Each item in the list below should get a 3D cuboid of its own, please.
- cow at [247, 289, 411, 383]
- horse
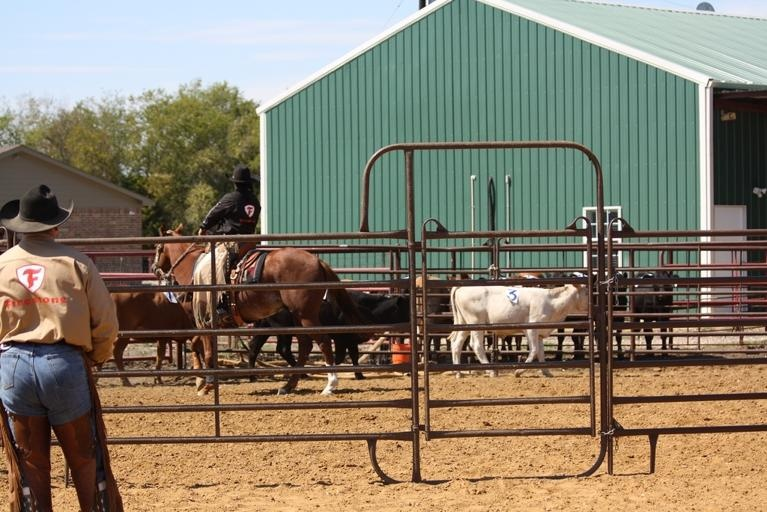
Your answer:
[{"bbox_3d":[-0.906,1.484,30.152,3.420,1.590,0.820,2,-13,25],"label":"cow"},{"bbox_3d":[-2.621,1.051,28.922,4.948,3.189,1.197,-1,-2,21],"label":"horse"}]
